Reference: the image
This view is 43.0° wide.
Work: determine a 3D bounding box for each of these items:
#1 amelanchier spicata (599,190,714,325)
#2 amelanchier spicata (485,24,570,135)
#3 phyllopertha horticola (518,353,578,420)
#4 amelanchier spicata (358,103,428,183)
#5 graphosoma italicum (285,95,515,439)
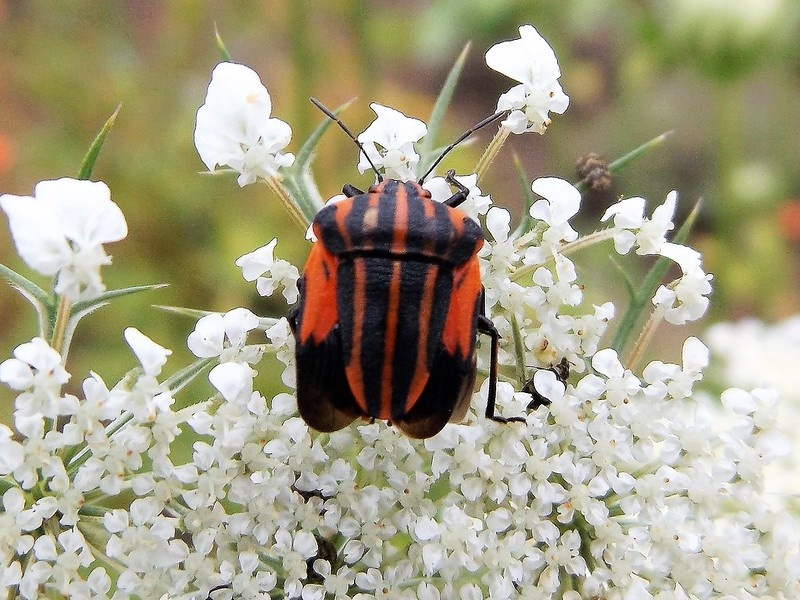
[{"bbox_3d":[0.730,-0.132,2.968,0.269,0.237,0.437,-12,110,-26],"label":"amelanchier spicata"},{"bbox_3d":[0.364,-0.632,3.036,0.203,0.240,0.329,-16,75,-5],"label":"amelanchier spicata"},{"bbox_3d":[0.417,0.242,2.856,0.118,0.143,0.146,-2,93,1],"label":"phyllopertha horticola"},{"bbox_3d":[-0.040,-0.484,3.044,0.233,0.188,0.233,-16,108,-11],"label":"amelanchier spicata"},{"bbox_3d":[0.006,-0.012,2.805,0.465,0.523,0.728,1,85,9],"label":"graphosoma italicum"}]
